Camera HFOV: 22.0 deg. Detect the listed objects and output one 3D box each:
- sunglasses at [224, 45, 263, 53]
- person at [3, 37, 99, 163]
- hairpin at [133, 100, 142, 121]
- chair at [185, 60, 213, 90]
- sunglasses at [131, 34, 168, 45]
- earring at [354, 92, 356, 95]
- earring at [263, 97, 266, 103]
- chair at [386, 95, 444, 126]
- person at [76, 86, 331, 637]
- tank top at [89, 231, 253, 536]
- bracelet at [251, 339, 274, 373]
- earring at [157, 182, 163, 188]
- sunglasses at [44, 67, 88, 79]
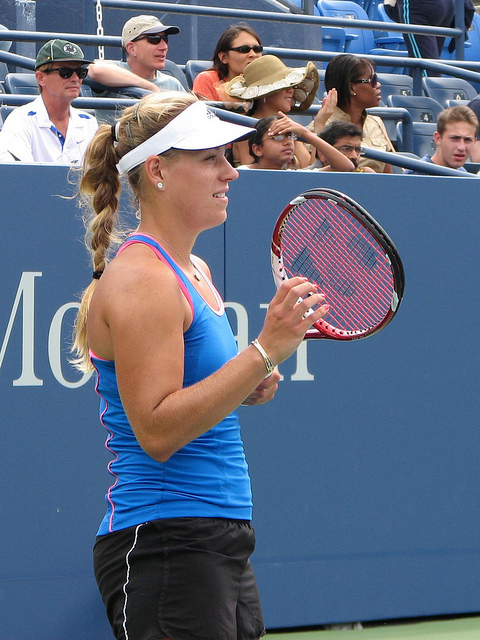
[{"bbox_3d":[0.035,-1.486,6.731,0.223,0.040,0.137,-2,16,-15],"label":"sunglasses"},{"bbox_3d":[-0.863,-0.997,5.626,0.307,0.538,0.716,8,16,19],"label":"person"},{"bbox_3d":[-0.272,-0.557,3.270,0.009,0.013,0.064,-17,40,33],"label":"hairpin"},{"bbox_3d":[-0.277,-1.517,7.627,0.169,0.238,0.190,0,6,-26],"label":"chair"},{"bbox_3d":[-0.449,-1.469,6.456,0.103,0.033,0.083,-19,1,22],"label":"sunglasses"},{"bbox_3d":[0.600,-1.173,6.360,0.012,0.013,0.003,0,2,33],"label":"earring"},{"bbox_3d":[0.125,-1.099,6.136,0.014,0.026,0.011,6,16,14],"label":"earring"},{"bbox_3d":[1.081,-1.292,7.599,0.453,0.211,0.232,-1,4,-36],"label":"chair"},{"bbox_3d":[-0.146,0.118,3.309,0.535,1.404,0.670,-5,17,-23],"label":"person"},{"bbox_3d":[-0.176,0.184,3.257,0.434,0.795,0.296,0,16,-8],"label":"tank top"},{"bbox_3d":[0.061,0.088,3.147,0.021,0.074,0.056,-17,6,-15],"label":"bracelet"},{"bbox_3d":[-0.208,-0.356,3.233,0.014,0.015,0.004,0,4,-7],"label":"earring"},{"bbox_3d":[-0.796,-1.141,5.673,0.202,0.051,0.061,-8,19,-34],"label":"sunglasses"}]
